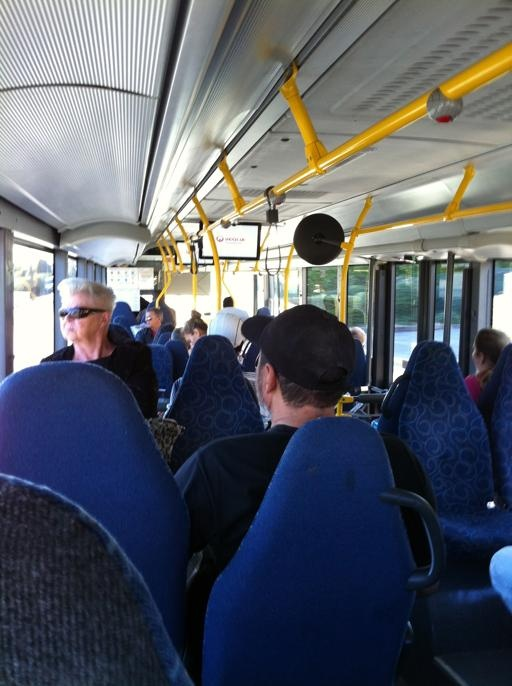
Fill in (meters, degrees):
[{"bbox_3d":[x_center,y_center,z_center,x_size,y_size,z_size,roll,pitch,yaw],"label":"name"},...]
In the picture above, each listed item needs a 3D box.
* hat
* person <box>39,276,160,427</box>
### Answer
[{"bbox_3d":[0.133,-0.034,1.354,0.229,0.178,0.328,0,30,-34],"label":"hat"},{"bbox_3d":[-0.904,0.144,2.688,0.586,0.949,0.495,-7,-10,3],"label":"person"}]
